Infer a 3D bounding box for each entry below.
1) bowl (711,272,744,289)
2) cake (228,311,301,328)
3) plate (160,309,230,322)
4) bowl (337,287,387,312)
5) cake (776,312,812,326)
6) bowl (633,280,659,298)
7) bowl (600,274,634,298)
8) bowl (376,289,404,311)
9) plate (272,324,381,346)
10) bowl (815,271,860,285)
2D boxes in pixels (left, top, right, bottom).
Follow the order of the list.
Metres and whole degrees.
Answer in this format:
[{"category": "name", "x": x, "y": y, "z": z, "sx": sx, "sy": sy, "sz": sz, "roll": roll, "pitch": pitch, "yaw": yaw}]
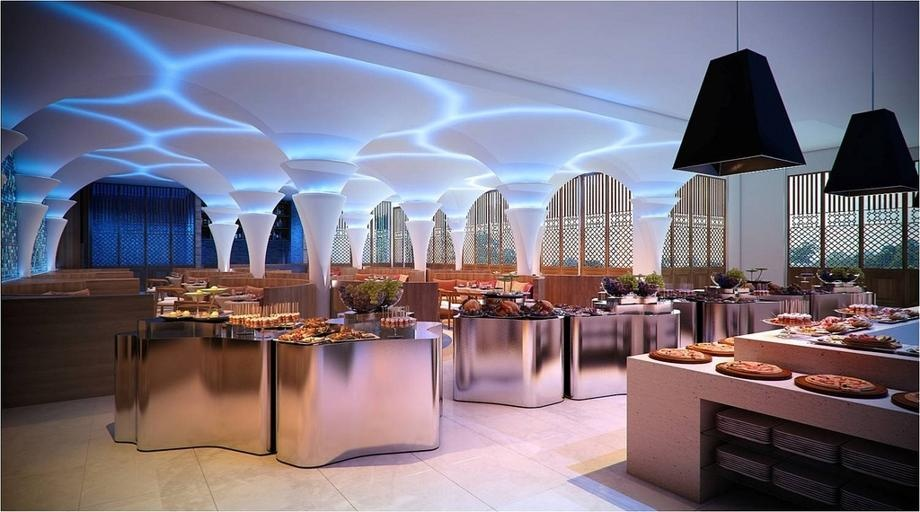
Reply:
[{"category": "bowl", "x": 5.198, "y": 0.436, "z": 10.457, "sx": 0.455, "sy": 0.198, "sz": 0.407, "roll": -1, "pitch": -1, "yaw": 6}, {"category": "cake", "x": -2.801, "y": 0.899, "z": 7.790, "sx": 0.958, "sy": 0.146, "sz": 0.287, "roll": -1, "pitch": -1, "yaw": -21}, {"category": "plate", "x": -3.836, "y": 0.860, "z": 8.005, "sx": 1.039, "sy": 0.164, "sz": 0.376, "roll": -1, "pitch": -1, "yaw": 3}, {"category": "bowl", "x": -1.447, "y": 0.636, "z": 8.129, "sx": 0.533, "sy": 0.249, "sz": 0.481, "roll": 1, "pitch": -3, "yaw": -17}, {"category": "cake", "x": 4.681, "y": 0.856, "z": 7.537, "sx": 0.289, "sy": 0.071, "sz": 0.257, "roll": -1, "pitch": 1, "yaw": -32}, {"category": "bowl", "x": 3.255, "y": 0.544, "z": 9.401, "sx": 0.537, "sy": 0.278, "sz": 0.222, "roll": -1, "pitch": -1, "yaw": -36}, {"category": "bowl", "x": 2.729, "y": 0.496, "z": 9.372, "sx": 0.486, "sy": 0.226, "sz": 0.418, "roll": -1, "pitch": -1, "yaw": -8}, {"category": "bowl", "x": -1.037, "y": 0.651, "z": 8.281, "sx": 0.385, "sy": 0.220, "sz": 0.368, "roll": 1, "pitch": 2, "yaw": 0}, {"category": "plate", "x": -1.855, "y": 1.047, "z": 7.524, "sx": 1.294, "sy": 0.200, "sz": 0.422, "roll": -1, "pitch": -1, "yaw": -17}, {"category": "bowl", "x": 8.372, "y": 0.454, "z": 11.957, "sx": 1.069, "sy": 0.344, "sz": 0.481, "roll": -1, "pitch": -1, "yaw": -29}]
